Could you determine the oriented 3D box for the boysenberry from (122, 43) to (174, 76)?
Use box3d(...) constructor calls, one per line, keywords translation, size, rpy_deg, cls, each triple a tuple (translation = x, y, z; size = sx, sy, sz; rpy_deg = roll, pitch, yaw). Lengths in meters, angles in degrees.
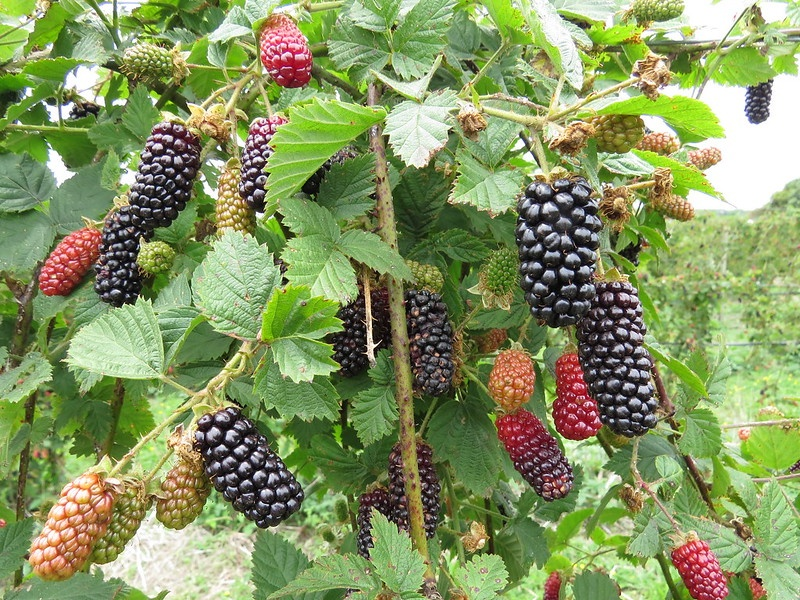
box3d(translation=(-0.595, -0.561, 1.756), size=(0.109, 0.071, 0.069), rpy_deg=(-1, -17, -6), cls="boysenberry")
